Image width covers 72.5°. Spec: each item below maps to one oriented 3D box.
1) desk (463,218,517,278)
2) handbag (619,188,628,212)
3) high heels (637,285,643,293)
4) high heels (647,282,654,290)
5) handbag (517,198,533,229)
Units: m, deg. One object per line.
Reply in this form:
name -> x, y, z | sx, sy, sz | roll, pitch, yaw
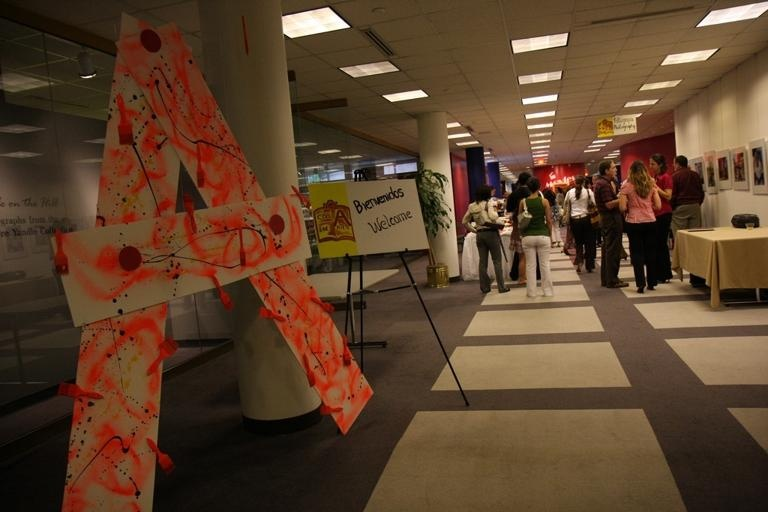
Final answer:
desk -> 2.180, 0.039, 10.610 | 1.052, 0.651, 1.108 | -2, -7, 15
handbag -> 3.408, -0.800, 7.543 | 0.201, 0.277, 0.092 | -1, -1, -42
high heels -> 3.760, 0.484, 7.757 | 0.072, 0.081, 0.080 | 1, 2, 23
high heels -> 3.981, 0.467, 7.873 | 0.060, 0.112, 0.113 | 0, -15, 6
handbag -> 2.130, -0.630, 8.038 | 0.201, 0.448, 0.264 | -8, 11, -10
